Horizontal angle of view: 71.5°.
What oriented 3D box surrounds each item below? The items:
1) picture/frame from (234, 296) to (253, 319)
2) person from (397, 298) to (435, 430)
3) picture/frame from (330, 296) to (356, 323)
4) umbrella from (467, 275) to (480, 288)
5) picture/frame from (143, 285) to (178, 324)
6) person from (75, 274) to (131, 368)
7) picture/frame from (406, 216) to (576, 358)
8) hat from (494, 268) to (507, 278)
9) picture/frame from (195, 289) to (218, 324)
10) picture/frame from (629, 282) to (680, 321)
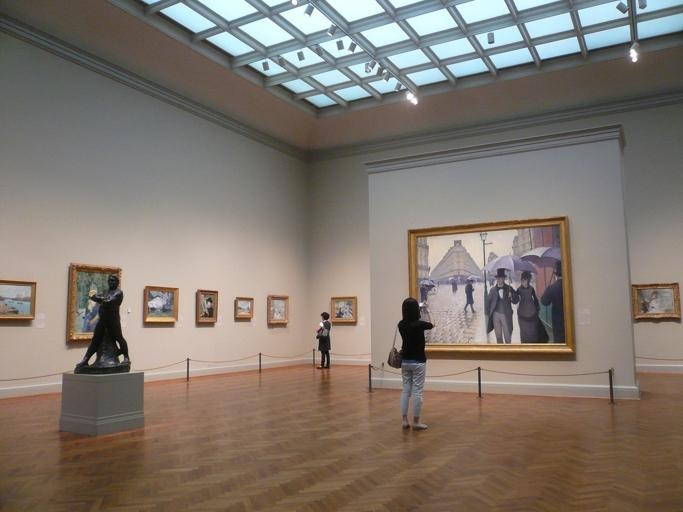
[{"bbox_3d":[-4.193,2.161,20.012,0.090,0.783,0.883,-8,-11,33],"label":"picture/frame"},{"bbox_3d":[1.406,2.057,9.124,0.587,2.502,0.420,-1,-6,8],"label":"person"},{"bbox_3d":[0.098,2.555,22.719,1.128,1.181,0.125,-3,-9,30],"label":"picture/frame"},{"bbox_3d":[3.729,0.704,13.381,0.392,0.243,0.307,-7,-2,23],"label":"umbrella"},{"bbox_3d":[-6.408,1.691,16.572,0.142,1.192,1.262,-9,-10,34],"label":"picture/frame"},{"bbox_3d":[-4.924,1.315,9.871,0.931,1.897,1.061,3,-7,-28],"label":"person"},{"bbox_3d":[4.275,0.913,12.923,3.571,3.343,0.258,-3,-5,24],"label":"picture/frame"},{"bbox_3d":[4.408,0.459,13.122,0.212,0.190,0.238,0,-8,16],"label":"hat"},{"bbox_3d":[-5.283,1.935,18.330,0.173,1.476,1.190,-6,-10,30],"label":"picture/frame"},{"bbox_3d":[11.502,1.666,17.292,1.605,1.702,0.244,-1,-5,26],"label":"picture/frame"}]
